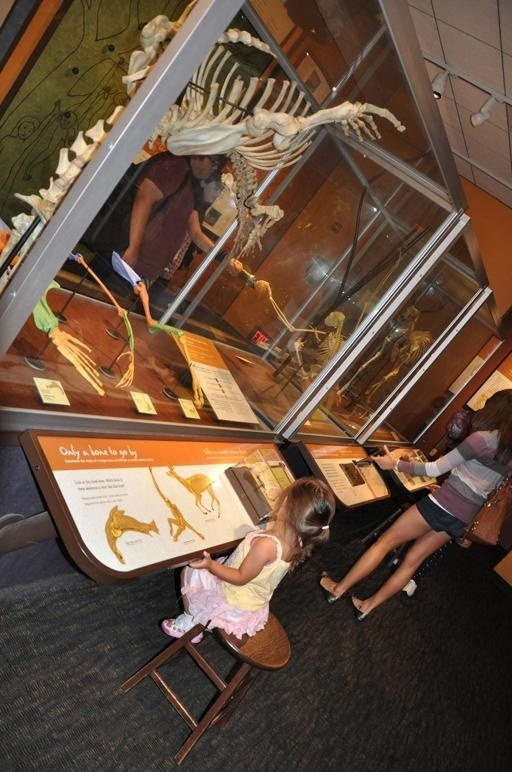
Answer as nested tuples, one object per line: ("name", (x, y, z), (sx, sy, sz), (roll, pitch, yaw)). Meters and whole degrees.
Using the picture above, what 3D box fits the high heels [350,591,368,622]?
("high heels", (0.509, 1.088, 2.403), (0.059, 0.039, 0.119), (-2, 84, -44))

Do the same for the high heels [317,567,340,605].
("high heels", (0.355, 0.955, 2.358), (0.061, 0.062, 0.171), (143, -67, -71))

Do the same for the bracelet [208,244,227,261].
("bracelet", (-0.095, -0.336, 1.215), (0.028, 0.026, 0.026), (-24, 107, -63))
